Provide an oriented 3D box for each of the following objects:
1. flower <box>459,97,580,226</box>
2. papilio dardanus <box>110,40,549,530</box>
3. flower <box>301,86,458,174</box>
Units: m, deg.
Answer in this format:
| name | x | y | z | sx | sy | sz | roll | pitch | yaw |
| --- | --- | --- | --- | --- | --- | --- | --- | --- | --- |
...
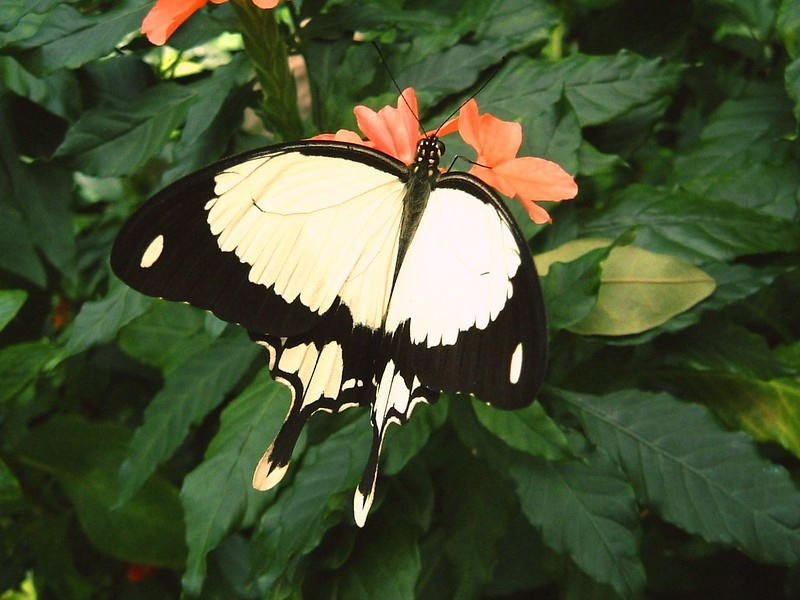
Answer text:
| name | x | y | z | sx | sy | sz | roll | pitch | yaw |
| --- | --- | --- | --- | --- | --- | --- | --- | --- | --- |
| flower | 0.145 | -0.183 | 1.214 | 0.153 | 0.173 | 0.085 | 36 | -24 | -16 |
| papilio dardanus | -0.079 | -0.041 | 1.133 | 0.560 | 0.592 | 0.188 | 20 | 13 | 9 |
| flower | -0.020 | -0.219 | 1.285 | 0.137 | 0.145 | 0.056 | 25 | 5 | 13 |
